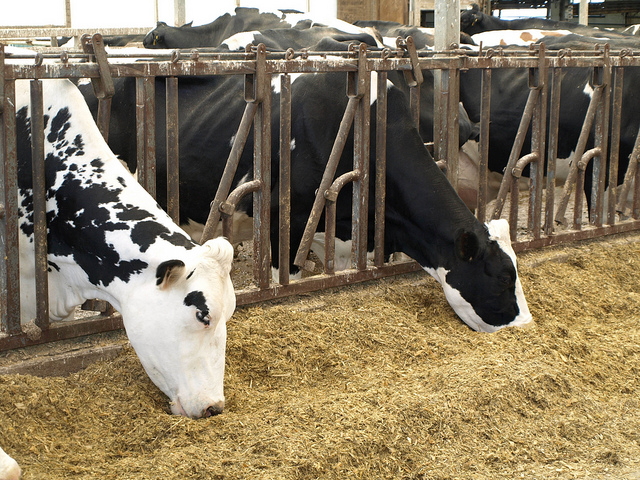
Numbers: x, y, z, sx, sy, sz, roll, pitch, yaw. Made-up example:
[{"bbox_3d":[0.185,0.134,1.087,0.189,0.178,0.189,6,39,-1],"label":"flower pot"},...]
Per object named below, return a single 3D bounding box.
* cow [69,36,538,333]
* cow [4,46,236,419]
[{"bbox_3d":[-0.264,-0.397,8.411,4.319,2.589,1.471,13,26,26],"label":"cow"},{"bbox_3d":[-1.128,0.018,6.048,1.380,1.830,0.477,9,17,39],"label":"cow"}]
